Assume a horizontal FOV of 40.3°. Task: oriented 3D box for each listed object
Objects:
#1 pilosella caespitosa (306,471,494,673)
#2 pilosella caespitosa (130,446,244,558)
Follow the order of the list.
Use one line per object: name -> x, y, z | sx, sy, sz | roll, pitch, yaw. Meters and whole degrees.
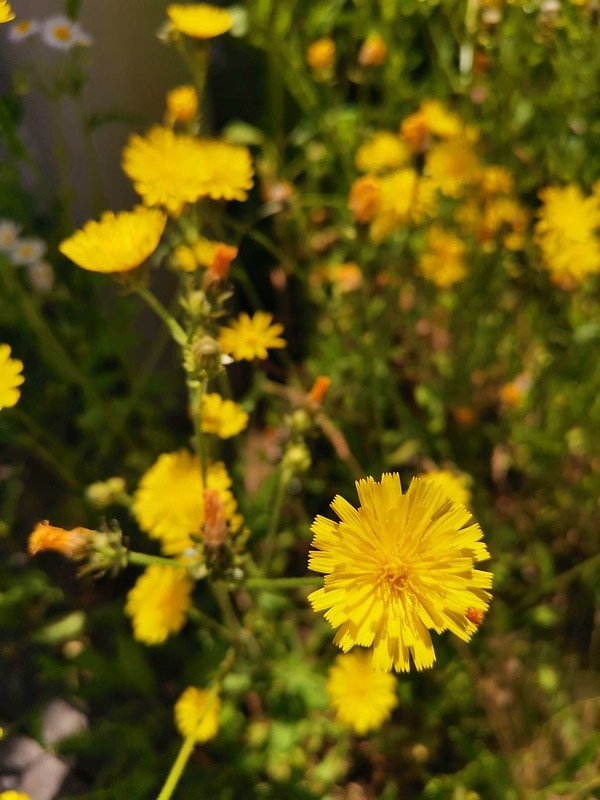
pilosella caespitosa -> 0.096, 0.168, 0.786 | 0.174, 0.136, 0.173 | -28, 68, -5
pilosella caespitosa -> -0.146, 0.128, 0.928 | 0.122, 0.030, 0.118 | -1, 61, 10
